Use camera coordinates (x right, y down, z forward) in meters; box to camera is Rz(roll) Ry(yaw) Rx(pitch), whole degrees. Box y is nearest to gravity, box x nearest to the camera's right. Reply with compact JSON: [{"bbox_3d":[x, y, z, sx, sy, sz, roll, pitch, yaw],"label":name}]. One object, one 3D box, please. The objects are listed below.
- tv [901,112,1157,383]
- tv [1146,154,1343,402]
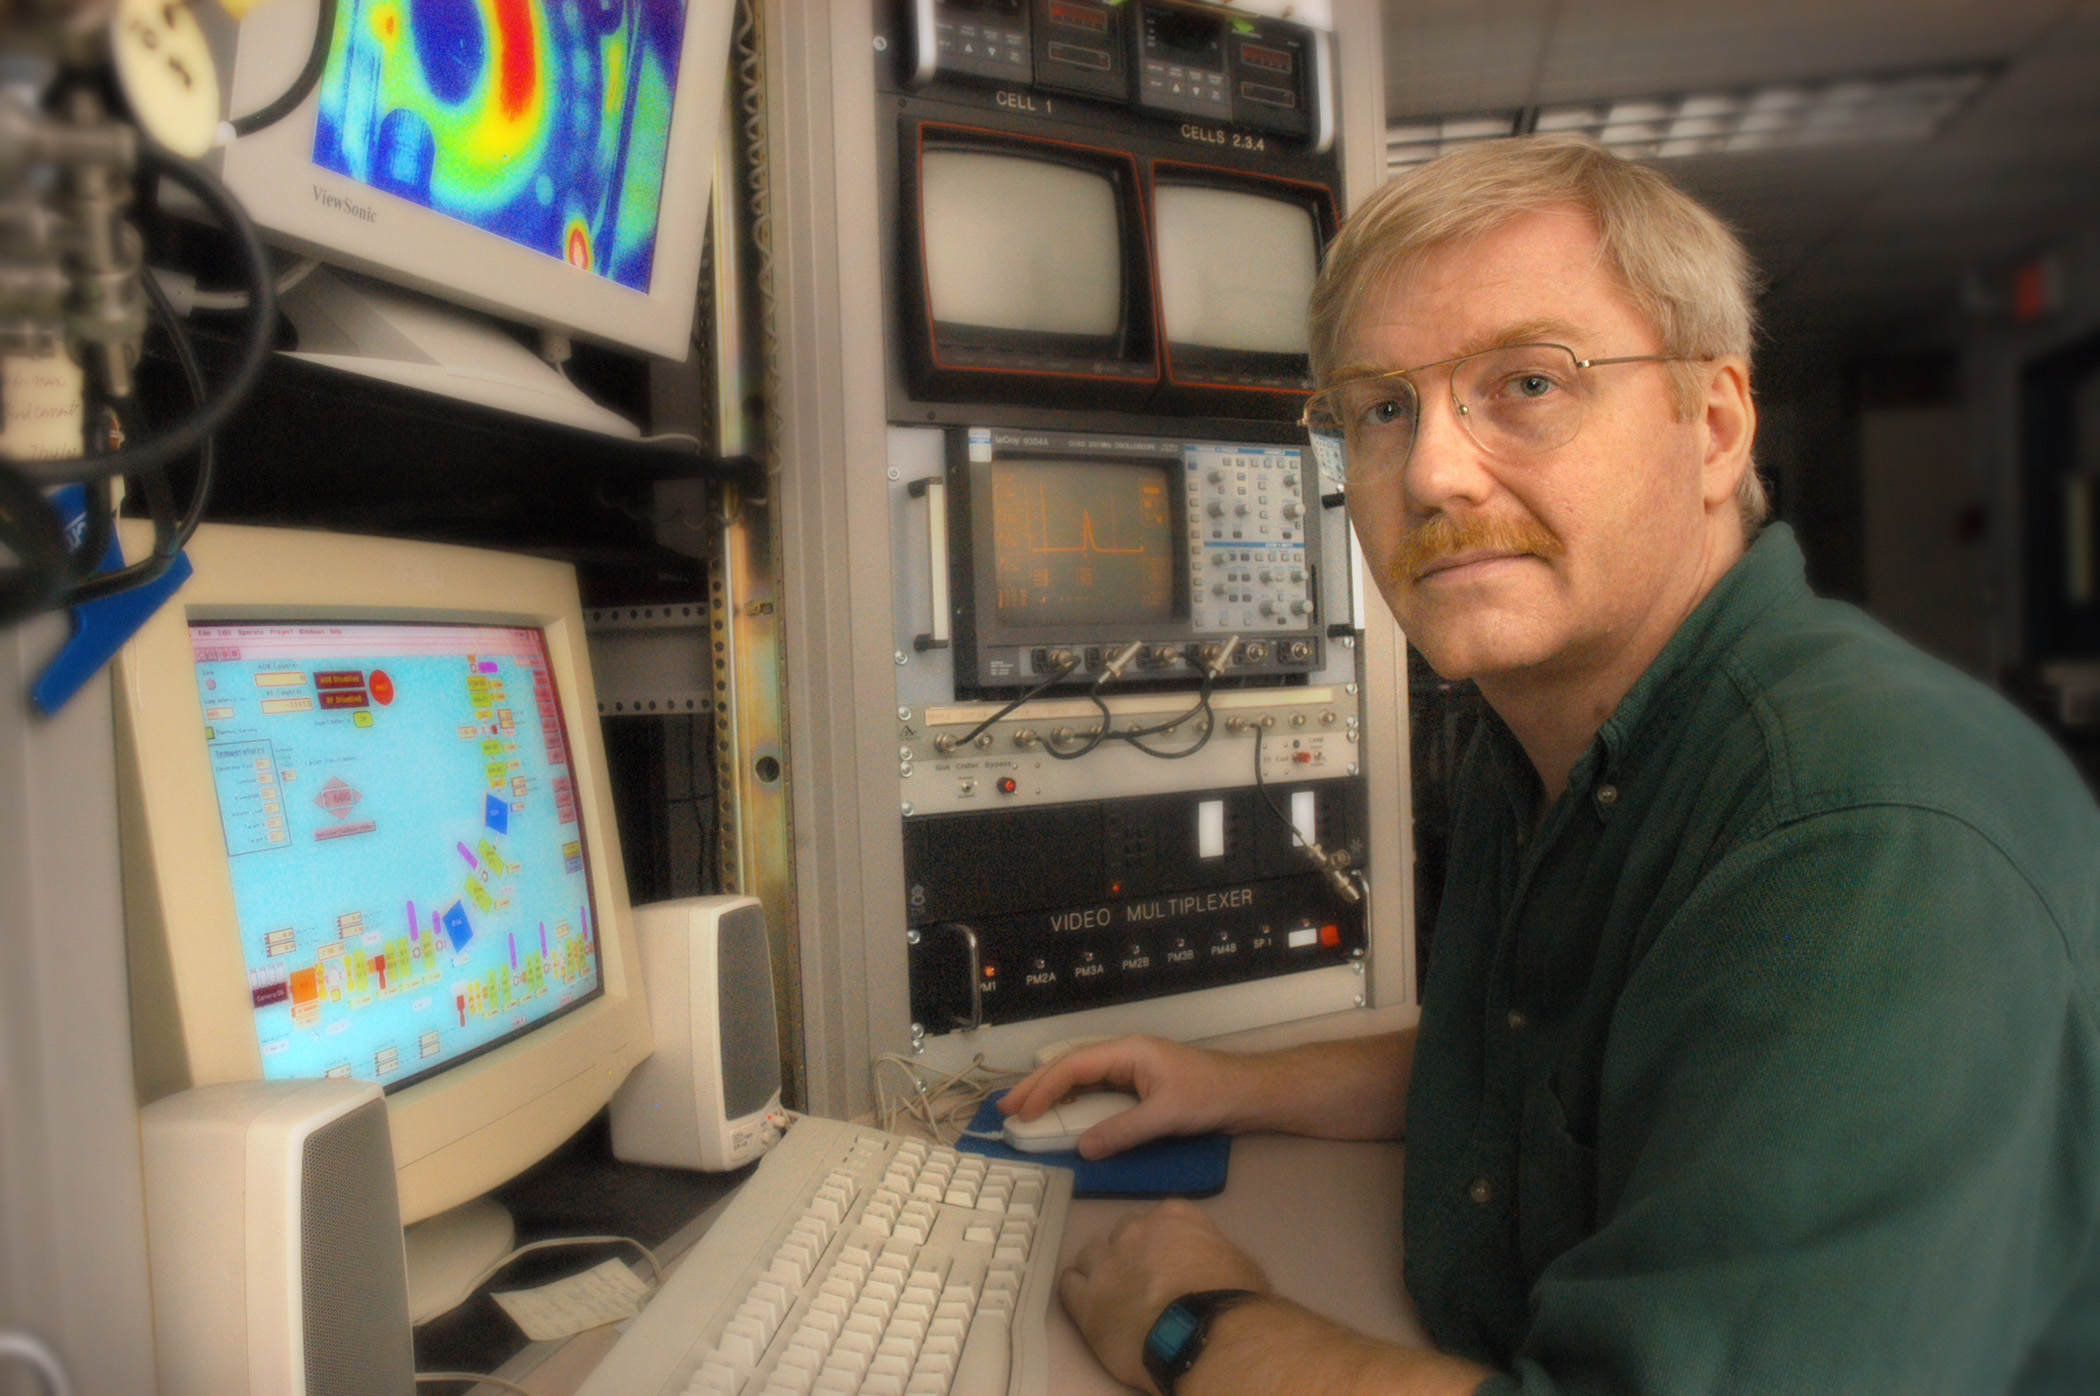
[{"bbox_3d":[0.004,-0.638,2.240,0.396,0.349,0.211,13,37,24],"label":"tv"},{"bbox_3d":[0.241,-0.599,2.364,0.310,0.292,0.217,-1,0,-17],"label":"tv"}]
